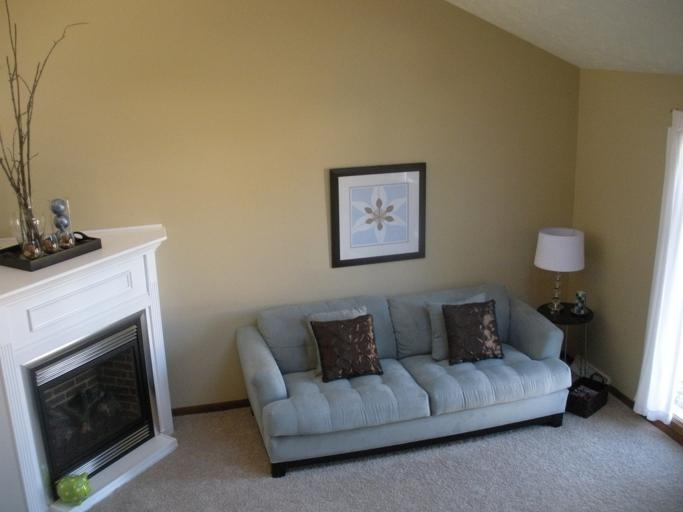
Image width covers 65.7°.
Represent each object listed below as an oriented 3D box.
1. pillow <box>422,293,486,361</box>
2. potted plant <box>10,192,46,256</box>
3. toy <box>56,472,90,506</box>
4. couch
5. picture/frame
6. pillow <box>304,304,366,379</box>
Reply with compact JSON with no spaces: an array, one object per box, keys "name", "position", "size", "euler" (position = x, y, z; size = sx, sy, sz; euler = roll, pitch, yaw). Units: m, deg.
[{"name":"pillow","position":[1.000,0.664,4.678],"size":[0.527,0.570,0.201],"euler":[-5,-10,-12]},{"name":"potted plant","position":[-2.281,-0.221,3.847],"size":[0.174,0.431,0.346],"euler":[-11,17,-40]},{"name":"toy","position":[-2.002,1.726,3.941],"size":[0.232,0.190,0.152],"euler":[2,13,8]},{"name":"couch","position":[0.502,1.045,4.678],"size":[2.754,1.194,0.958],"euler":[-2,13,-12]},{"name":"picture/frame","position":[0.313,-0.421,4.988],"size":[0.854,0.936,0.062],"euler":[-7,17,-15]},{"name":"pillow","position":[-0.082,0.759,4.708],"size":[0.549,0.544,0.176],"euler":[-7,-14,-35]}]
